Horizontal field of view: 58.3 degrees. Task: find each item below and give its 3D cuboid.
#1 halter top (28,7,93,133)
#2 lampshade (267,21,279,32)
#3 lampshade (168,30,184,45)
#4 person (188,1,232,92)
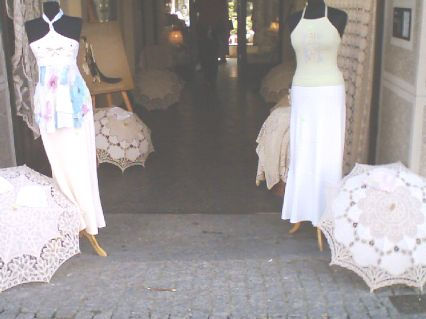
[{"bbox_3d":[-0.986,-0.543,2.525,0.342,0.813,0.337,-8,26,-28],"label":"halter top"},{"bbox_3d":[0.848,-1.896,5.444,0.164,0.142,0.038,-1,21,3],"label":"lampshade"},{"bbox_3d":[-0.580,-1.876,5.876,0.182,0.172,0.194,3,28,3],"label":"lampshade"},{"bbox_3d":[-0.038,-1.703,5.851,0.657,1.349,0.313,-2,21,1],"label":"person"}]
